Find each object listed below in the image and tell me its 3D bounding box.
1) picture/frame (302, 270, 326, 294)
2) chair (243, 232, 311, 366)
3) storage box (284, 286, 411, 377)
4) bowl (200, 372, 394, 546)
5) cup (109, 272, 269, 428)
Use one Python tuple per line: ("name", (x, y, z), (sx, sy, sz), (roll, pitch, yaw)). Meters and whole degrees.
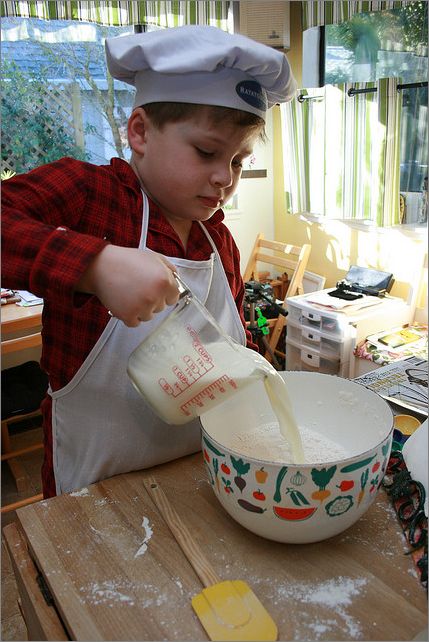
("picture/frame", (0.659, -0.254, 2.950), (0.013, 0.172, 0.169), (-23, 38, -28))
("chair", (0.358, -0.177, 3.080), (0.432, 0.732, 0.434), (21, 36, 29))
("storage box", (0.713, 0.137, 2.578), (0.515, 0.619, 0.510), (19, 32, 38))
("bowl", (0.124, 0.196, 0.633), (0.252, 0.156, 0.251), (-7, 14, 2))
("cup", (-0.025, 0.054, 0.620), (0.141, 0.194, 0.130), (-31, -2, -1))
